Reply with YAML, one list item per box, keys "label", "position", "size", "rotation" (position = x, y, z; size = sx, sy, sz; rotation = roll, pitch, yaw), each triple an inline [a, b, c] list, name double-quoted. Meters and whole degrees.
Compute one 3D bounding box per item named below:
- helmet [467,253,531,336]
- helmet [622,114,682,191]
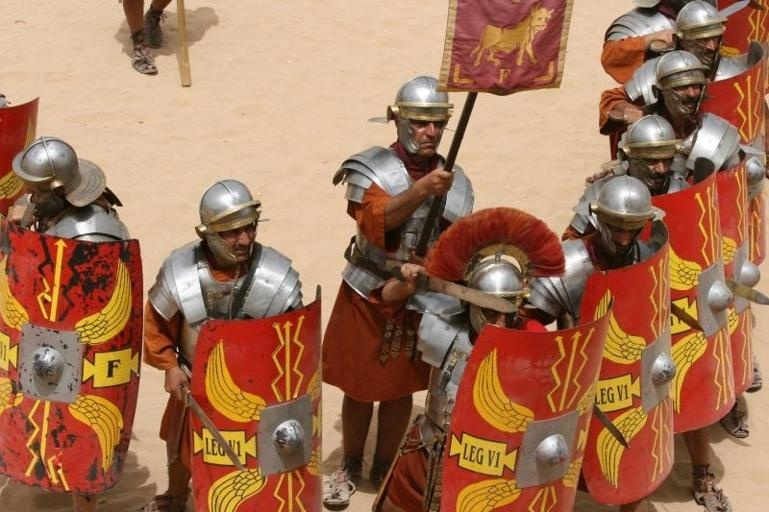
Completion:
- label: "helmet"
  position: [0.844, 0.298, 9.021]
  size: [0.453, 0.601, 0.395]
  rotation: [2, 9, -2]
- label: "helmet"
  position: [2.327, -0.875, 10.548]
  size: [0.624, 0.566, 0.470]
  rotation: [-12, 24, -10]
